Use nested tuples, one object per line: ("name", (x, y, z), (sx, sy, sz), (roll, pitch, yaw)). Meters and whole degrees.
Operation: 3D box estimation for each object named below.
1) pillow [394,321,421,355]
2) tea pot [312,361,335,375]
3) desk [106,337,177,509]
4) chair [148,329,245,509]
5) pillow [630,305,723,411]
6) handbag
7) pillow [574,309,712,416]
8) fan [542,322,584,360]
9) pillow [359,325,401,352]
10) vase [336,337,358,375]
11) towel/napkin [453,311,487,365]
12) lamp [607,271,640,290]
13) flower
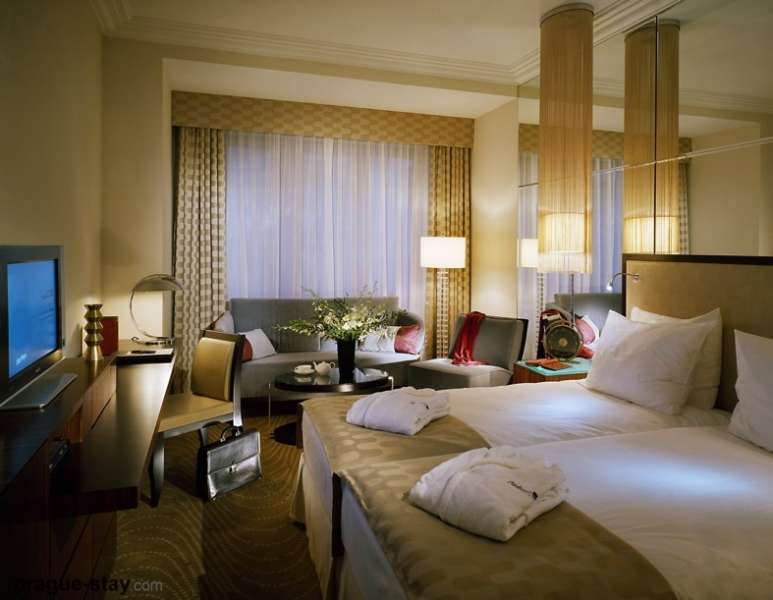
("pillow", (0.238, 0.393, 5.804), (0.251, 0.291, 0.100), (3, -13, -11))
("tea pot", (-0.520, 0.567, 4.655), (0.094, 0.100, 0.143), (-4, -3, 35))
("desk", (-1.300, 0.651, 2.977), (0.250, 0.237, 0.925), (-1, 13, -17))
("chair", (-1.410, 0.752, 3.975), (0.800, 1.016, 0.771), (0, 4, -23))
("pillow", (1.679, 0.358, 3.231), (0.182, 0.530, 0.536), (3, -2, -27))
("handbag", (-1.015, 1.082, 3.631), (0.151, 0.383, 0.405), (-5, -3, 35))
("pillow", (1.551, 0.386, 3.333), (0.165, 0.425, 0.490), (15, -4, -23))
("fan", (1.388, 0.331, 4.465), (0.331, 0.384, 0.340), (3, -1, 7))
("pillow", (-0.106, 0.377, 5.699), (0.321, 0.313, 0.105), (3, -26, 20))
("vase", (-0.317, 0.442, 4.459), (0.219, 0.394, 0.233), (0, 3, -11))
("towel/napkin", (0.790, 0.341, 5.349), (0.257, 0.517, 0.142), (12, 0, 41))
("lamp", (1.822, -0.149, 4.304), (0.291, 0.153, 0.131), (-9, 3, 4))
("flower", (-0.254, 0.174, 4.794), (0.695, 0.443, 0.790), (-2, -5, 25))
